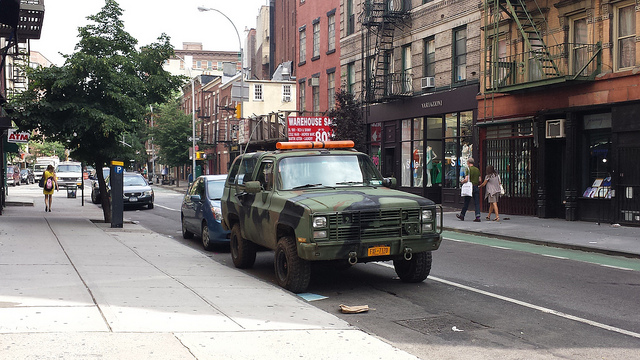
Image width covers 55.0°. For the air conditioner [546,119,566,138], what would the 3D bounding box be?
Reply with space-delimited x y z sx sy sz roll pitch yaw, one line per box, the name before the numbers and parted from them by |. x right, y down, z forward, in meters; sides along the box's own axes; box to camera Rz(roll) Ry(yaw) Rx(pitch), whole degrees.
air conditioner | 10.411 -2.188 26.891 0.736 0.869 0.932 1 -1 -27

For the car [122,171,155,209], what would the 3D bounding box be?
car | -10.989 0.560 36.823 1.663 1.752 4.235 -2 11 -17

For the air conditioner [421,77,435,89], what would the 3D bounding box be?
air conditioner | 5.866 -5.212 33.188 0.521 0.658 0.956 1 -2 -25

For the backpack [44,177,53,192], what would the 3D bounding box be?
backpack | -14.187 0.255 31.813 0.411 0.552 0.902 -3 12 -24
